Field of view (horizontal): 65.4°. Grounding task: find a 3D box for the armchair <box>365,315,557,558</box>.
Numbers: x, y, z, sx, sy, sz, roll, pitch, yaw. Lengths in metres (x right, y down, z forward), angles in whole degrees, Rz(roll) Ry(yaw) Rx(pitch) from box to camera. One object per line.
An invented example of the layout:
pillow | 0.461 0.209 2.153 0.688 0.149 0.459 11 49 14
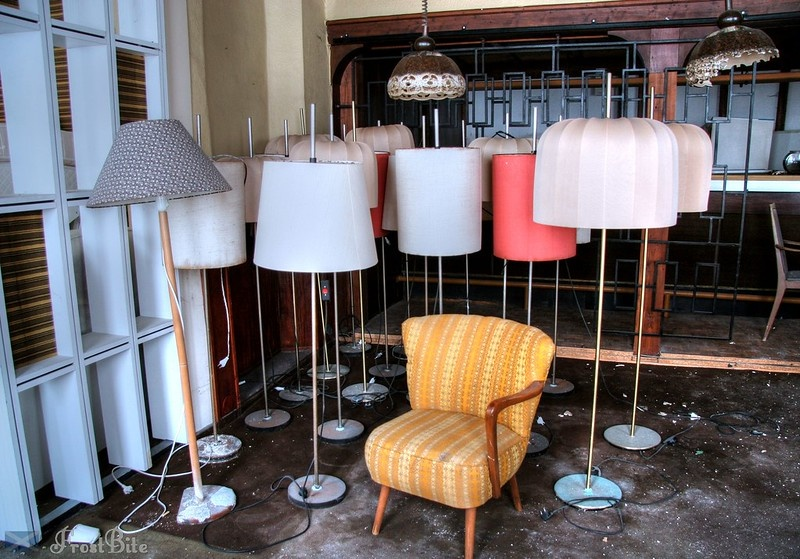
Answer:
armchair | 0.388 0.790 3.572 1.162 1.244 1.177 4 8 31

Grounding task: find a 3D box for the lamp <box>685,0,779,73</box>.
lamp | 2.159 -1.525 4.062 0.519 0.448 0.277 5 17 25
